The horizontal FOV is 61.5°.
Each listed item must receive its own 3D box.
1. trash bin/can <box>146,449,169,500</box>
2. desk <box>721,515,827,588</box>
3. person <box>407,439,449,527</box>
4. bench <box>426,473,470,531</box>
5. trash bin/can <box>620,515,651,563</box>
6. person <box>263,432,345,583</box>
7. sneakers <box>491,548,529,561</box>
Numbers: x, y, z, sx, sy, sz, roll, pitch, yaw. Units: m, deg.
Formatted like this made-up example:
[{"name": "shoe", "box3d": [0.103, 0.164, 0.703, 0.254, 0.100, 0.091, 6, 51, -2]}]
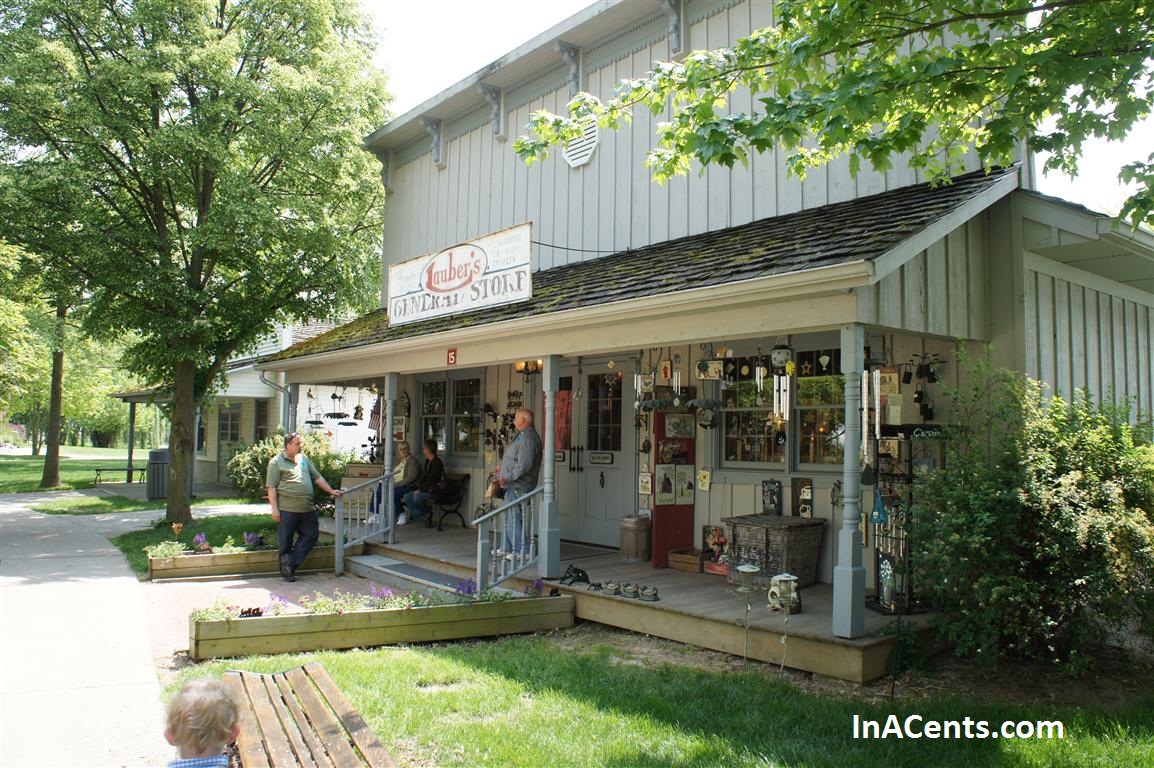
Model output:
[{"name": "trash bin/can", "box3d": [-11.151, 2.416, 25.654, 0.510, 1.369, 0.956, 8, -10, -23]}, {"name": "desk", "box3d": [2.642, 2.141, 12.873, 0.873, 0.851, 1.159, 8, -10, -40]}, {"name": "person", "box3d": [-2.779, 1.808, 17.872, 0.633, 1.475, 0.458, -4, -12, 42]}, {"name": "bench", "box3d": [-2.353, 2.146, 18.043, 0.707, 0.909, 0.858, -3, 4, -5]}, {"name": "trash bin/can", "box3d": [0.851, 2.271, 14.251, 0.460, 0.692, 0.257, 3, -9, 8]}, {"name": "person", "box3d": [-4.248, 1.880, 14.628, 0.922, 2.135, 0.535, 7, -10, -17]}, {"name": "sneakers", "box3d": [-0.971, 2.419, 13.558, 0.536, 0.235, 0.238, -4, -5, 28]}]
